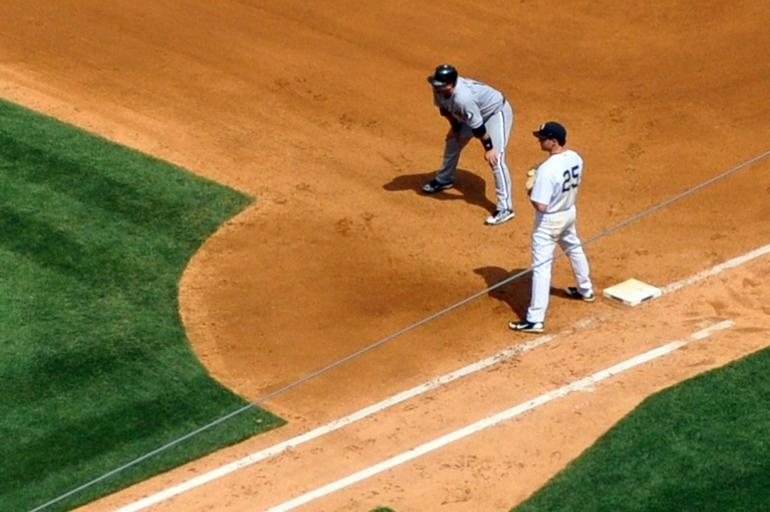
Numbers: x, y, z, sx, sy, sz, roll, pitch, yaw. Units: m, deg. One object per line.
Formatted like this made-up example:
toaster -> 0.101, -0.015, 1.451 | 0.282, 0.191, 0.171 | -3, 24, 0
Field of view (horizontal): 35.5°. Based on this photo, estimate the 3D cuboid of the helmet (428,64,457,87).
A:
helmet -> 1.021, -3.092, 20.961 | 0.464, 0.222, 0.341 | -4, 49, -20

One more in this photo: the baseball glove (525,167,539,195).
baseball glove -> 2.302, -1.219, 19.173 | 0.127, 0.476, 0.360 | 6, 1, 4

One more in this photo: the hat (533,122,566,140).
hat -> 2.601, -2.005, 19.114 | 0.431, 0.230, 0.300 | 14, 23, 2

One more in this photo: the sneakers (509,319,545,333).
sneakers -> 2.289, 1.099, 19.751 | 0.583, 0.228, 0.210 | 9, 21, 22

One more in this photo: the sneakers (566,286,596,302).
sneakers -> 3.241, 0.623, 20.171 | 0.202, 0.221, 0.519 | -9, 11, -37

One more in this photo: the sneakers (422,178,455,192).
sneakers -> 0.985, -1.337, 22.512 | 0.560, 0.230, 0.231 | -5, 42, -7
